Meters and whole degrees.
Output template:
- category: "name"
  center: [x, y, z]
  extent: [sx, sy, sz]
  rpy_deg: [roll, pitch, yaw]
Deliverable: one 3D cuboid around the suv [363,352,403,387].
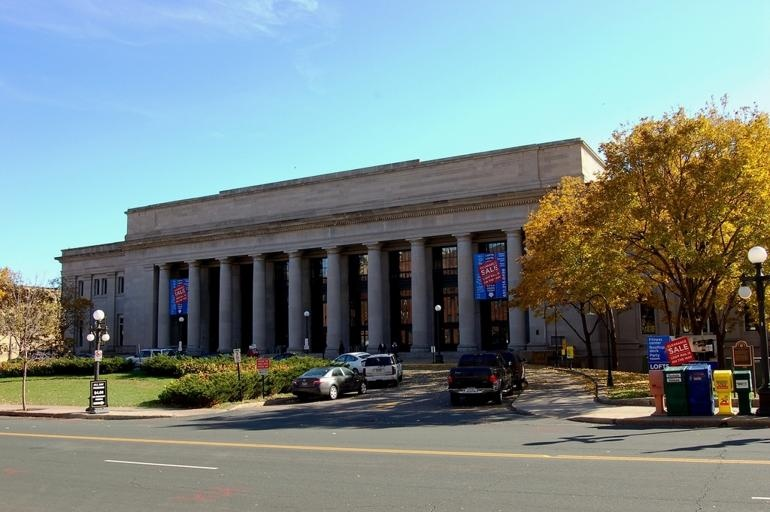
- category: "suv"
  center: [-0.198, 6.709, 44.920]
  extent: [2.278, 2.018, 1.693]
  rpy_deg: [-1, -13, -6]
